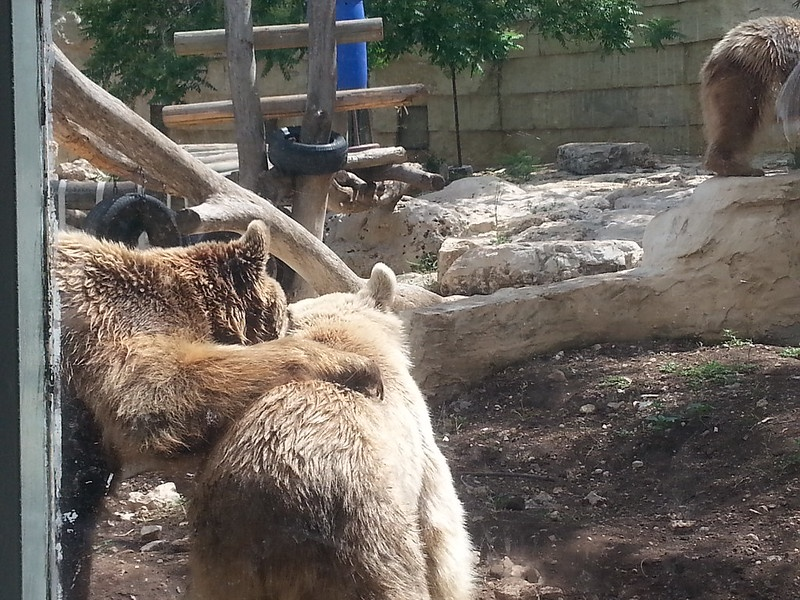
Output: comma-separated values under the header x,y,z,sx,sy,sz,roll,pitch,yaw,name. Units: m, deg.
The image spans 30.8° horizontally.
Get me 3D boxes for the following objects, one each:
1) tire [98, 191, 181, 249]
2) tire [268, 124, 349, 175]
x,y,z,sx,sy,sz,roll,pitch,yaw,name
-1.506,-0.446,8.442,0.151,0.380,0.374,17,-8,38,tire
-0.651,-1.284,12.025,0.524,0.184,0.538,25,36,24,tire
